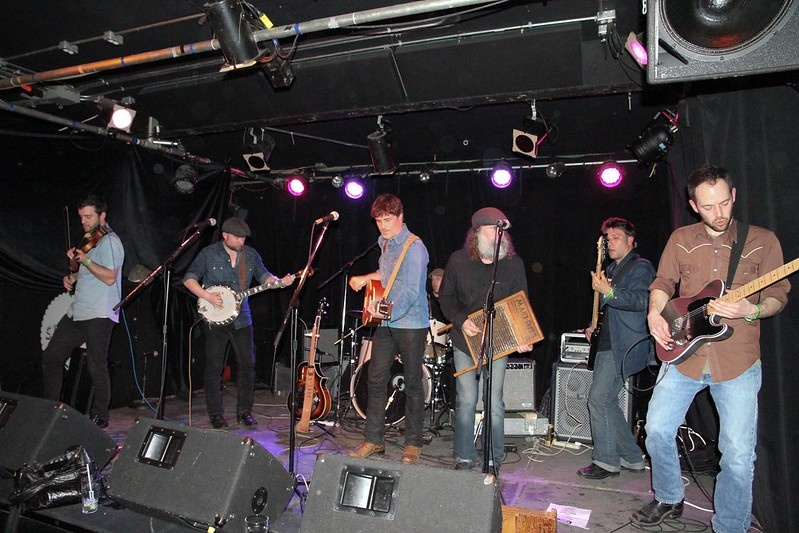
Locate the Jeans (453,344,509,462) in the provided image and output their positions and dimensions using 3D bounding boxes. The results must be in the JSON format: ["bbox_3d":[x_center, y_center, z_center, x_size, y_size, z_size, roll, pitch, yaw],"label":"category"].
[{"bbox_3d":[0.882,1.552,6.640,0.697,1.224,0.602,13,-17,-30],"label":"Jeans"}]

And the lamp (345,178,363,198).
[{"bbox_3d":[-0.824,-1.417,11.123,0.293,0.318,0.205,5,23,13],"label":"lamp"}]

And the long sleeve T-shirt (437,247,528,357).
[{"bbox_3d":[0.901,0.445,6.753,0.993,1.334,0.693,4,-12,25],"label":"long sleeve T-shirt"}]

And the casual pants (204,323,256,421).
[{"bbox_3d":[-2.335,1.450,8.231,0.825,1.317,0.447,12,-16,-29],"label":"casual pants"}]

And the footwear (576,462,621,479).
[{"bbox_3d":[2.252,2.347,6.826,0.432,0.209,0.184,3,-7,5],"label":"footwear"}]

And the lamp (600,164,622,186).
[{"bbox_3d":[3.462,-1.461,9.873,0.365,0.268,0.397,-1,-16,20],"label":"lamp"}]

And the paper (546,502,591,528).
[{"bbox_3d":[1.682,2.488,5.970,0.423,0.170,0.353,0,-16,17],"label":"paper"}]

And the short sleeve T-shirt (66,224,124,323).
[{"bbox_3d":[-3.779,0.135,7.653,0.680,1.200,0.281,3,-4,18],"label":"short sleeve T-shirt"}]

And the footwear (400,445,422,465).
[{"bbox_3d":[0.125,2.145,6.808,0.158,0.180,0.421,0,-19,6],"label":"footwear"}]

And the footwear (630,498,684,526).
[{"bbox_3d":[2.455,2.375,5.833,0.547,0.251,0.210,1,-6,-5],"label":"footwear"}]

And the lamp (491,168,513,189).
[{"bbox_3d":[1.748,-1.491,10.341,0.369,0.242,0.506,2,-15,9],"label":"lamp"}]

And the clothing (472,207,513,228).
[{"bbox_3d":[0.963,-0.514,6.426,0.273,0.169,0.369,3,-6,-45],"label":"clothing"}]
